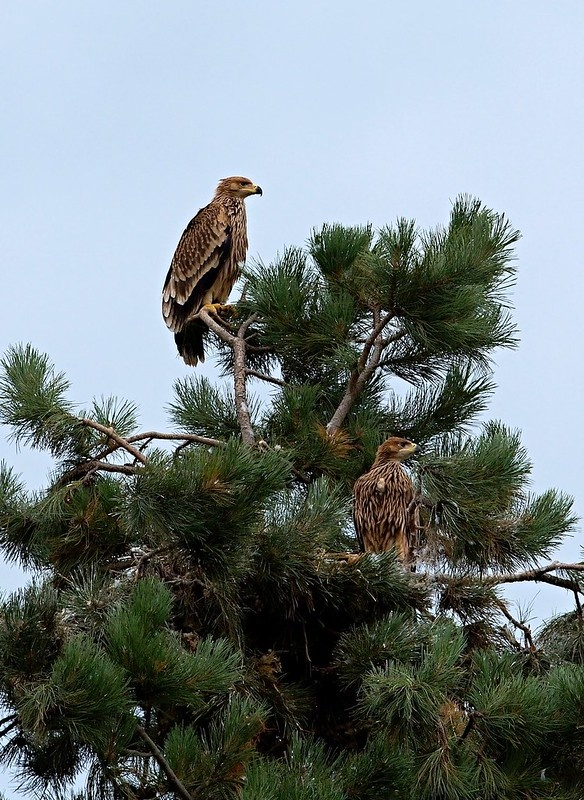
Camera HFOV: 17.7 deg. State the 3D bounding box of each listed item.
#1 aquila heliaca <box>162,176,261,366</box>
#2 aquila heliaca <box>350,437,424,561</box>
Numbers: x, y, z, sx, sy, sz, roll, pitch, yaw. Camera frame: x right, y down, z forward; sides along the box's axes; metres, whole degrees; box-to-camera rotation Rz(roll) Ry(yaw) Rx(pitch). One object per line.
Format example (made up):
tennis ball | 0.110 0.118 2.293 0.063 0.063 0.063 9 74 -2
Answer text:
aquila heliaca | -0.360 -0.490 8.508 0.525 0.895 0.323 -19 -42 4
aquila heliaca | 0.384 0.392 7.285 0.310 0.552 0.183 -6 -26 35
